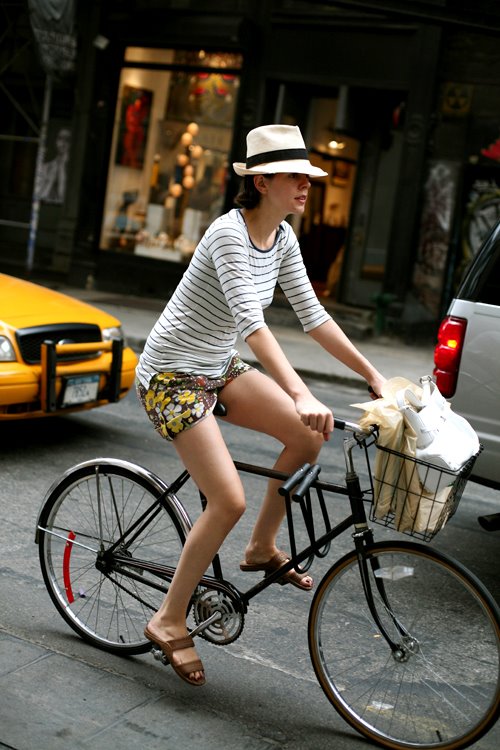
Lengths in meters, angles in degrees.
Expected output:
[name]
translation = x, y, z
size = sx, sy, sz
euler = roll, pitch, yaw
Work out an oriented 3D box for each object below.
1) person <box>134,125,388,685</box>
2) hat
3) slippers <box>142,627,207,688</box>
[person]
translation = 0.045, 0.065, 2.288
size = 0.970, 1.618, 0.891
euler = 8, 14, 25
[hat]
translation = 0.085, -0.721, 2.243
size = 0.311, 0.153, 0.330
euler = -20, 23, -36
[slippers]
translation = -0.203, 0.877, 2.232
size = 0.153, 0.381, 0.121
euler = -18, 54, -7
